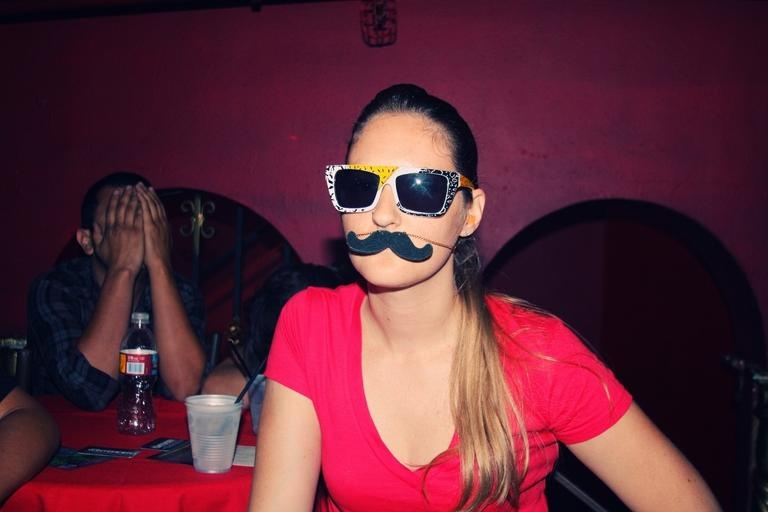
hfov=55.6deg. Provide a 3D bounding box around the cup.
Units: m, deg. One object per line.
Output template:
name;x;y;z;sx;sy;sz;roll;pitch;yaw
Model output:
cup;-0.782;0.823;3.395;0.262;0.330;0.286;1;8;0

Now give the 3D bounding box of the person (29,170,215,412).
person;-1.599;0.198;4.387;0.894;1.394;0.908;-3;-4;30
